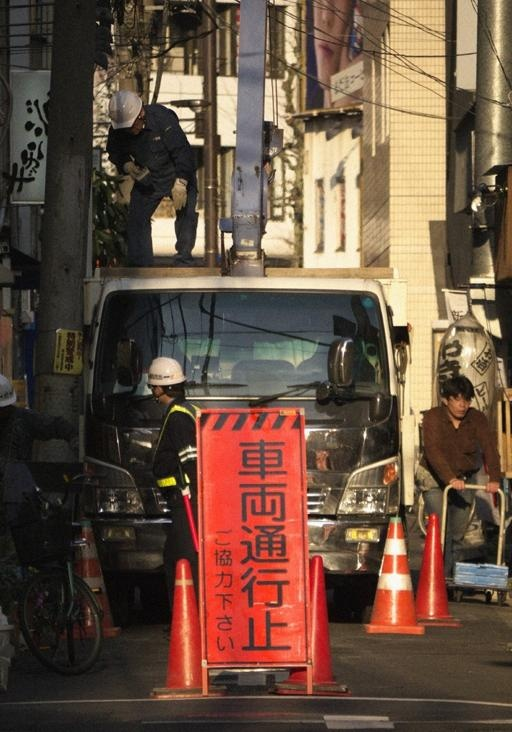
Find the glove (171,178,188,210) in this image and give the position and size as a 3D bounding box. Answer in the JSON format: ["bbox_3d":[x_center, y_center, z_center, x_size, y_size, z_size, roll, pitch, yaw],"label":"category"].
[{"bbox_3d":[-0.704,-1.694,15.465,0.055,0.234,0.177,1,-43,-15],"label":"glove"}]

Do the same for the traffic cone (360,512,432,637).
[{"bbox_3d":[0.991,1.485,11.819,0.409,0.865,0.332,1,4,5],"label":"traffic cone"}]

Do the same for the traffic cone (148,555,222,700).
[{"bbox_3d":[-0.400,1.538,9.896,0.499,0.818,0.556,-3,-7,4],"label":"traffic cone"}]

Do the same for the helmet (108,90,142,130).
[{"bbox_3d":[-1.205,-2.421,15.280,0.235,0.382,0.196,0,-27,11],"label":"helmet"}]

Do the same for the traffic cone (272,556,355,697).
[{"bbox_3d":[0.358,1.540,9.688,0.569,0.914,0.610,-3,-5,27],"label":"traffic cone"}]

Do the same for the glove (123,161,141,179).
[{"bbox_3d":[-1.177,-1.885,15.689,0.114,0.194,0.075,-33,13,39],"label":"glove"}]

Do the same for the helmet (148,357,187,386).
[{"bbox_3d":[-0.617,0.025,11.244,0.198,0.144,0.171,2,8,34],"label":"helmet"}]

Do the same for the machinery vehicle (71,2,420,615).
[{"bbox_3d":[0.005,0.260,13.554,1.785,3.988,3.377,0,-3,0],"label":"machinery vehicle"}]
